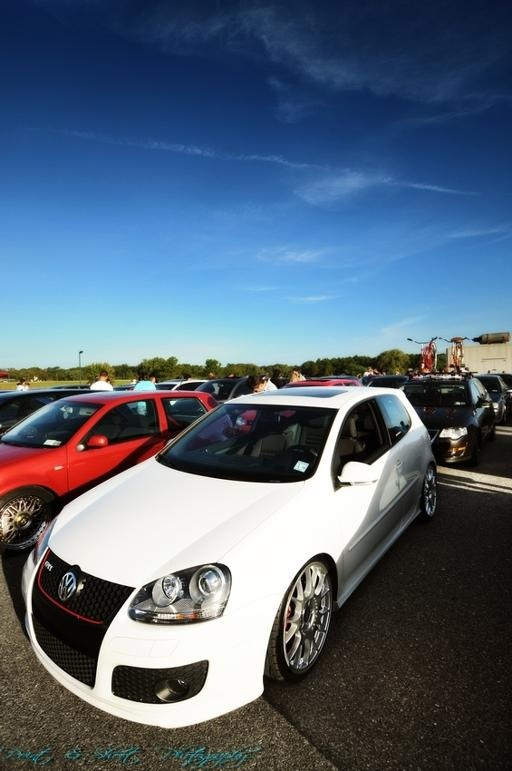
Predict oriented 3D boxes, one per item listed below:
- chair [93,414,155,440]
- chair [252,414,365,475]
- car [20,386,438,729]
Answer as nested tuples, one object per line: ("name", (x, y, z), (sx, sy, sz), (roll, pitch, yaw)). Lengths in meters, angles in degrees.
("chair", (-1.397, 0.393, 5.446), (0.439, 0.193, 0.262), (-15, 22, -40))
("chair", (0.281, 0.355, 3.380), (0.399, 0.264, 0.585), (7, 11, 39))
("car", (0.122, 0.754, 3.155), (1.324, 0.849, 2.603), (2, 7, 36))
